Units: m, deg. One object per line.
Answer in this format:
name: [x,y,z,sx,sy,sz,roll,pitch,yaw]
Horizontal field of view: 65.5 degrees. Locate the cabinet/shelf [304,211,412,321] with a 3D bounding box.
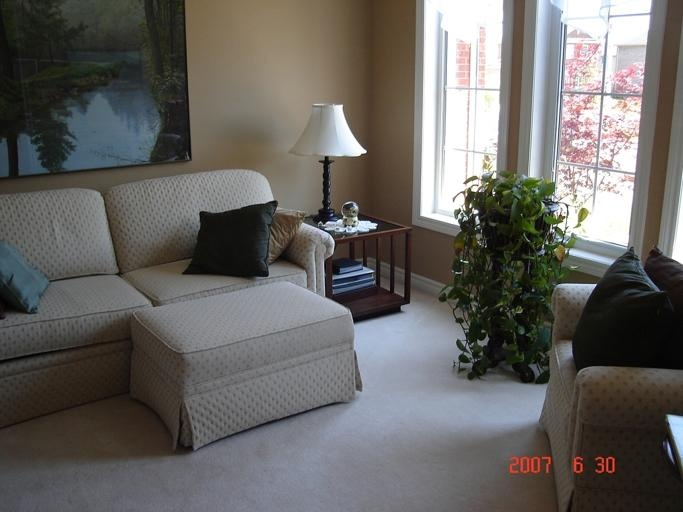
cabinet/shelf: [0.129,0.110,3.901,0.751,0.616,0.818,-1,9,13]

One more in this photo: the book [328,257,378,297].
book: [0.063,0.142,3.713,0.243,0.093,0.249,-7,10,-32]

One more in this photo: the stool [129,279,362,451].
stool: [-0.585,0.303,2.700,0.892,0.460,0.691,-10,14,-36]

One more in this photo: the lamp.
lamp: [-0.110,-0.661,3.792,0.546,0.822,0.501,-13,23,-34]
